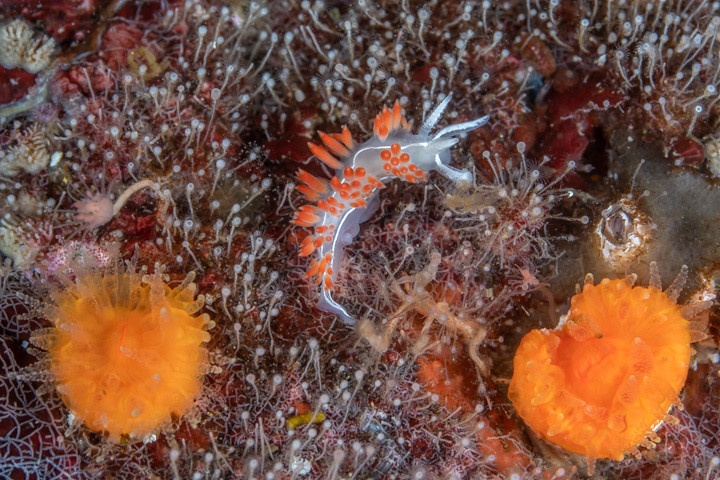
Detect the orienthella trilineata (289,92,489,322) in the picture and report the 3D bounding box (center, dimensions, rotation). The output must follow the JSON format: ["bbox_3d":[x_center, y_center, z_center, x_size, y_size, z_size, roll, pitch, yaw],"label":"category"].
[{"bbox_3d":[0.138,-0.490,7.248,1.266,0.762,2.047,39,98,7],"label":"orienthella trilineata"}]

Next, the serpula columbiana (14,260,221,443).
[{"bbox_3d":[-1.838,0.898,6.419,1.330,0.544,1.252,4,67,1],"label":"serpula columbiana"}]

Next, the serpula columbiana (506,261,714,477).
[{"bbox_3d":[1.928,0.990,6.335,1.407,0.591,1.527,-12,70,17],"label":"serpula columbiana"}]
